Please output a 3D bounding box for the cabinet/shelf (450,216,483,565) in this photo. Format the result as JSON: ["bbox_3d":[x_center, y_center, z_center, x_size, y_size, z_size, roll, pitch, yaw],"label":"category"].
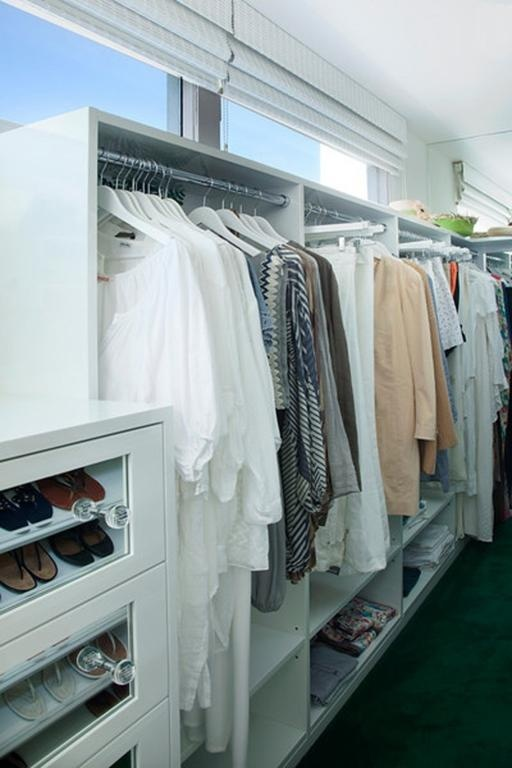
[{"bbox_3d":[1.166,0.162,2.922,0.176,1.534,0.547,3,4,29],"label":"cabinet/shelf"}]

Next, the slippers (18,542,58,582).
[{"bbox_3d":[-0.261,0.214,0.663,0.022,0.016,0.061,1,12,-37],"label":"slippers"}]

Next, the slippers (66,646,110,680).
[{"bbox_3d":[-0.218,0.361,0.709,0.054,0.011,0.037,35,25,0],"label":"slippers"}]

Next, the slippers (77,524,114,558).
[{"bbox_3d":[-0.216,0.211,0.732,0.057,0.014,0.026,47,35,18],"label":"slippers"}]

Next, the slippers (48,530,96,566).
[{"bbox_3d":[-0.240,0.214,0.701,0.059,0.020,0.031,36,27,24],"label":"slippers"}]
